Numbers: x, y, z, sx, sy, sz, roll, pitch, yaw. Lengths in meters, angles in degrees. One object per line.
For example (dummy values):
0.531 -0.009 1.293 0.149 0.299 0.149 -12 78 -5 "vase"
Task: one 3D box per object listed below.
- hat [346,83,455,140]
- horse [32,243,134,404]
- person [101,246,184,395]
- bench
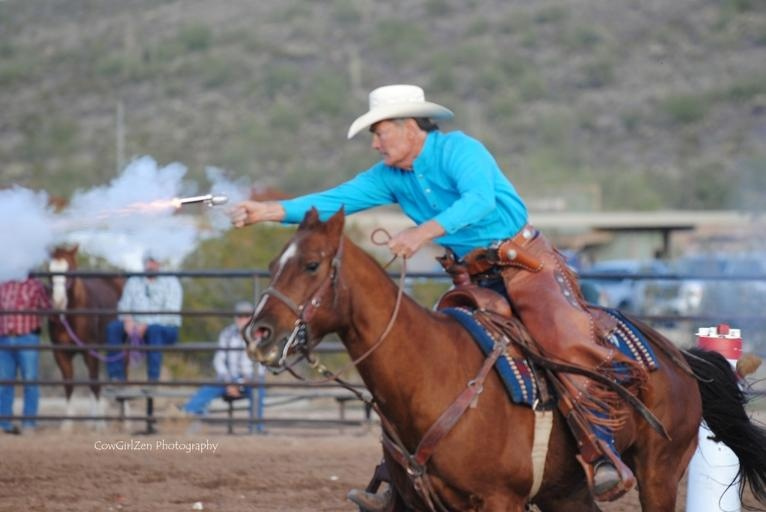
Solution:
0.222 -2.518 34.213 1.229 0.687 1.032 4 8 19 "hat"
-5.612 1.344 37.522 1.134 2.855 4.130 -1 2 7 "horse"
-4.354 1.124 37.099 1.227 2.435 0.917 3 -10 -2 "person"
-2.846 3.047 38.419 4.838 1.025 0.688 0 -13 -1 "bench"
